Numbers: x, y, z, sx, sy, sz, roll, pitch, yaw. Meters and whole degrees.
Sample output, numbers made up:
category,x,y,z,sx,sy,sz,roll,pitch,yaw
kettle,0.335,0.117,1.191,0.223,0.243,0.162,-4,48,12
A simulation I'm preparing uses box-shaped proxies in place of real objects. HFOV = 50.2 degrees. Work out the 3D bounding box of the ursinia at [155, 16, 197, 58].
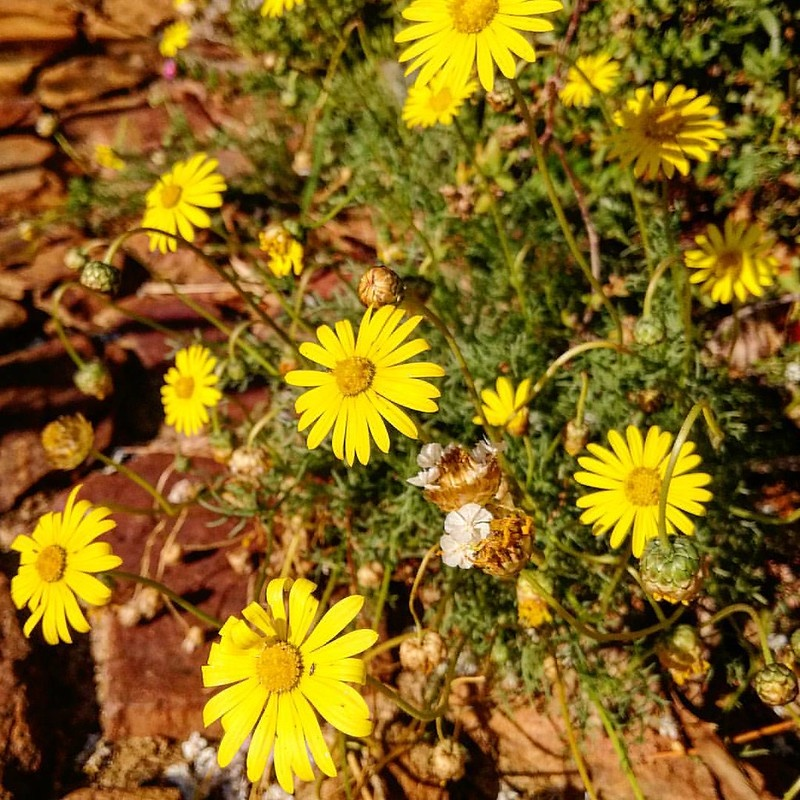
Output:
category,x,y,z,sx,sy,sz,roll,pitch,yaw
ursinia,-0.915,-1.483,3.537,0.144,0.033,0.160,36,102,35

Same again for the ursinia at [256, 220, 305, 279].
category,x,y,z,sx,sy,sz,roll,pitch,yaw
ursinia,-0.438,-0.545,3.150,0.070,0.186,0.191,-38,92,-22
